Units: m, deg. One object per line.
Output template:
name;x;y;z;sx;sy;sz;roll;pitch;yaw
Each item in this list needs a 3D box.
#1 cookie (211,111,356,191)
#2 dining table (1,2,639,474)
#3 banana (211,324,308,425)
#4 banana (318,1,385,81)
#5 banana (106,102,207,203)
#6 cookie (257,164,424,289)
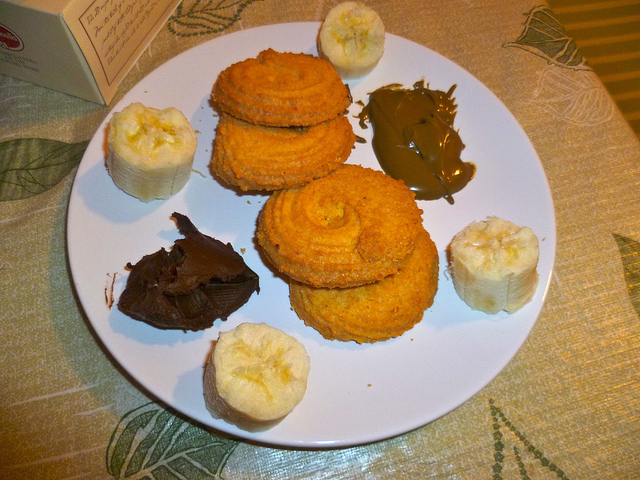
cookie;-0.137;-0.320;2.038;0.430;0.230;0.388;-15;38;-17
dining table;-0.002;-0.089;1.994;2.059;0.522;1.500;5;63;-10
banana;-0.159;0.339;1.668;0.242;0.032;0.232;15;62;-4
banana;0.110;-0.651;2.115;0.196;0.250;0.225;22;50;25
banana;-0.492;-0.298;1.879;0.218;0.175;0.300;18;60;-10
cookie;0.061;-0.030;1.859;0.448;0.116;0.362;-17;69;-19
